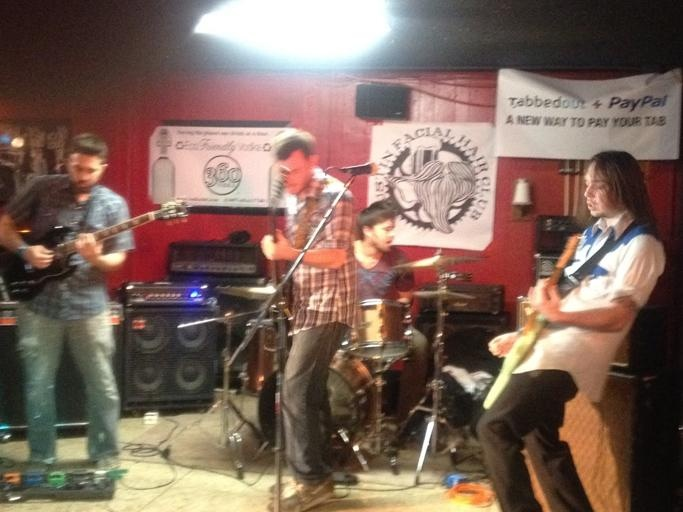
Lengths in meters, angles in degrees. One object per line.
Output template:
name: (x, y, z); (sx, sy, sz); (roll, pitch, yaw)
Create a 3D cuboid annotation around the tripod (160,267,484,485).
tripod: (0.193, 0.852, 4.722); (1.937, 1.063, 1.600); (-1, -4, 15)

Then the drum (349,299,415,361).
drum: (0.223, 0.473, 4.215); (0.475, 0.318, 0.442); (-1, -11, 0)

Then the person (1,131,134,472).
person: (-1.652, 0.258, 3.751); (0.758, 1.974, 0.281); (1, 4, -8)

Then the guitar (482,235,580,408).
guitar: (1.129, 0.379, 3.760); (0.181, 1.349, 0.156); (23, 11, -44)

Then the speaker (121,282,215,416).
speaker: (-1.213, 0.751, 5.137); (0.903, 0.945, 0.823); (-3, -5, 10)

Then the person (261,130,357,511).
person: (-0.171, 0.396, 3.430); (0.492, 2.156, 0.426); (2, 4, 0)

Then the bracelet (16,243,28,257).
bracelet: (-1.903, -0.038, 3.752); (0.076, 0.051, 0.075); (11, -11, -37)
